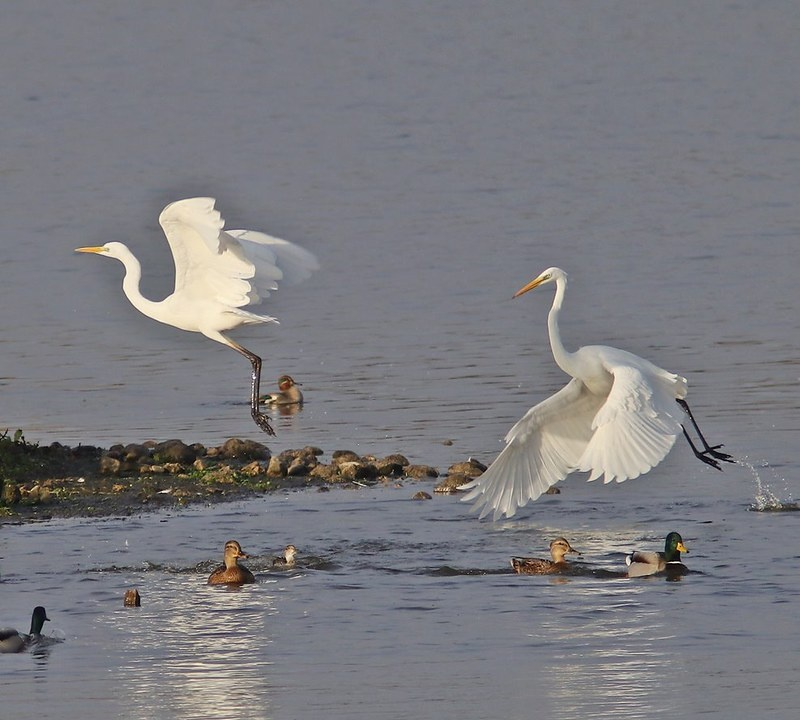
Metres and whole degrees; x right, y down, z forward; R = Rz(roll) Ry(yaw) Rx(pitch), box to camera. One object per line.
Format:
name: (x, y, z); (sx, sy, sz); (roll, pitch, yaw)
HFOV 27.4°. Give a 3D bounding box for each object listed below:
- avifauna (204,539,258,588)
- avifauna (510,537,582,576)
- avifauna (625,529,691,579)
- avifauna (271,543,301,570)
avifauna: (-1.558, 1.968, 15.597); (0.346, 0.521, 0.334); (0, 72, -31)
avifauna: (1.381, 1.950, 15.934); (0.785, 0.251, 0.420); (-3, 72, 0)
avifauna: (2.466, 1.884, 15.646); (0.649, 0.338, 0.346); (-4, 93, 0)
avifauna: (-1.133, 1.981, 16.282); (0.136, 0.370, 0.143); (5, 71, -29)
